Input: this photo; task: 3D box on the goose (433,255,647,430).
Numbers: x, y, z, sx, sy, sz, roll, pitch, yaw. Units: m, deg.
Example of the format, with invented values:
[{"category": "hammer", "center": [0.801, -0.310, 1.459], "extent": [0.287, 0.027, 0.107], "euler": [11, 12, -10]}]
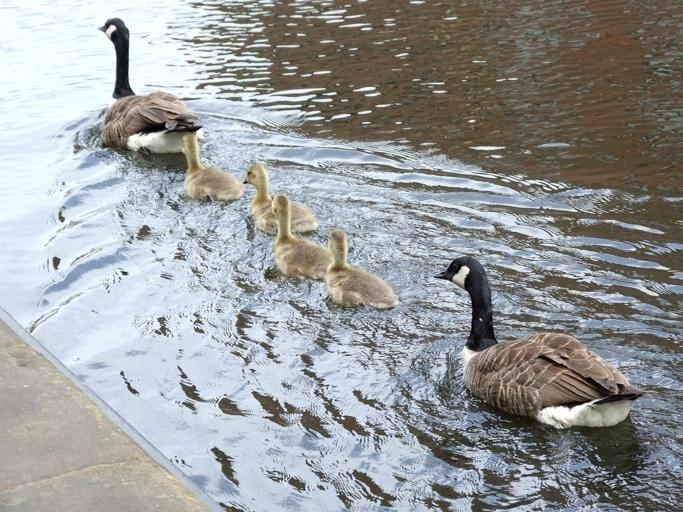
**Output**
[{"category": "goose", "center": [2.169, 1.037, 8.394], "extent": [1.102, 1.097, 2.711], "euler": [-25, 22, -35]}]
